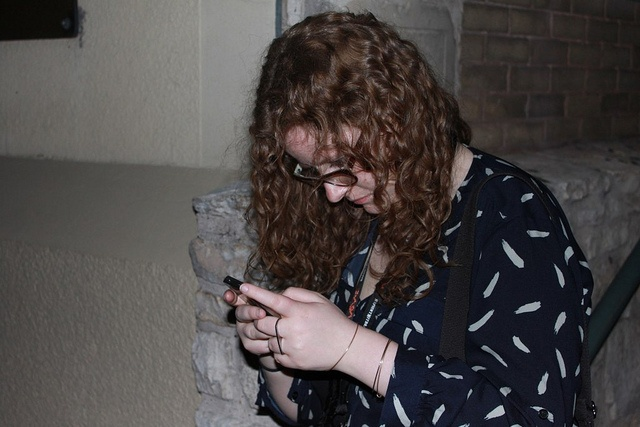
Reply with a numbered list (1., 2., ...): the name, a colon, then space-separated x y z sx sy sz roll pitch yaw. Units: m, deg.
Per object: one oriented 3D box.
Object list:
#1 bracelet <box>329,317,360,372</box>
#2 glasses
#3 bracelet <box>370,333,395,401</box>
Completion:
1. bracelet: 0.087 0.418 1.919 0.026 0.109 0.111 17 -23 -13
2. glasses: 0.041 -0.144 1.965 0.178 0.056 0.162 15 -22 -34
3. bracelet: 0.189 0.497 1.930 0.032 0.145 0.131 10 -13 -4
